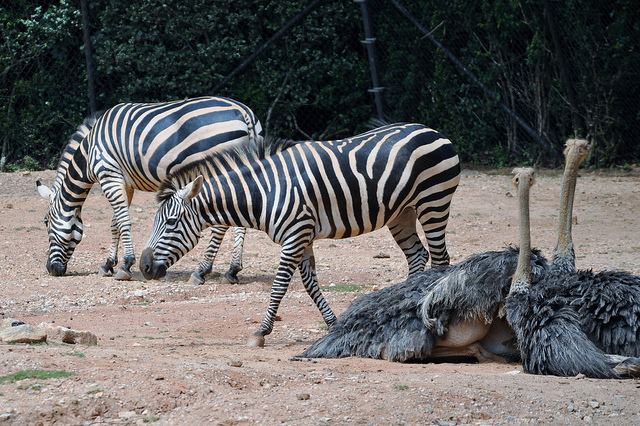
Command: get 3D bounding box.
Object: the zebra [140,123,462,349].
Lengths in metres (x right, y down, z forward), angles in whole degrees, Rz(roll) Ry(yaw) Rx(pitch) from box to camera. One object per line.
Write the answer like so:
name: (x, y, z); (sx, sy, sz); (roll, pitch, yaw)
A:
zebra: (-0.138, 0.293, 9.577); (3.892, 2.378, 1.065); (-8, 10, -11)
